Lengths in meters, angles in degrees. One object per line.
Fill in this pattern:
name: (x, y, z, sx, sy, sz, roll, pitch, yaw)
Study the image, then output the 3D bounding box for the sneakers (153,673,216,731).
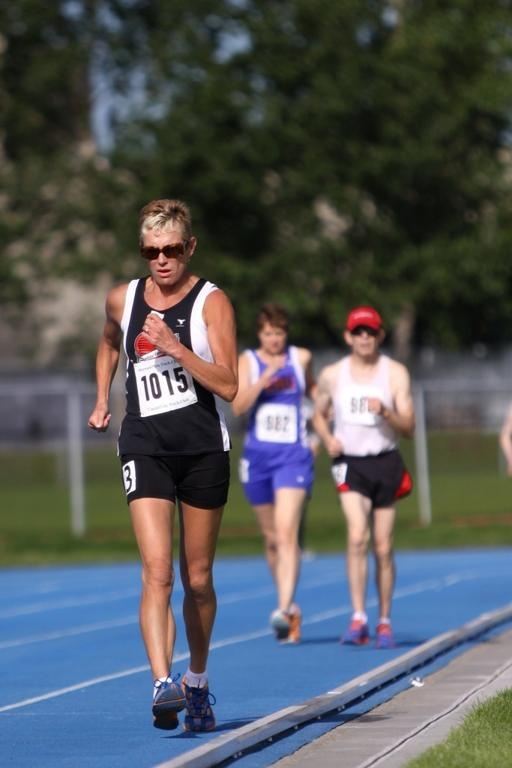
sneakers: (-0.234, 1.044, 3.549, 0.164, 0.149, 0.416, 7, -17, -6)

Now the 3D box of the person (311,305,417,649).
person: (0.634, 0.546, 5.959, 0.444, 1.928, 0.825, -7, 7, -19)

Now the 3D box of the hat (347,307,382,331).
hat: (0.586, -0.342, 5.849, 0.131, 0.081, 0.171, -1, -19, 5)

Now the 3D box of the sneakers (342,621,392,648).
sneakers: (0.645, 1.394, 6.076, 0.130, 0.139, 0.341, -3, -15, 19)

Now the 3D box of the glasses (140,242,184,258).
glasses: (-0.321, -0.434, 3.613, 0.169, 0.048, 0.133, -2, 5, 13)

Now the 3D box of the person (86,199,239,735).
person: (-0.275, 0.402, 3.667, 0.513, 1.683, 1.013, -5, 6, -8)
